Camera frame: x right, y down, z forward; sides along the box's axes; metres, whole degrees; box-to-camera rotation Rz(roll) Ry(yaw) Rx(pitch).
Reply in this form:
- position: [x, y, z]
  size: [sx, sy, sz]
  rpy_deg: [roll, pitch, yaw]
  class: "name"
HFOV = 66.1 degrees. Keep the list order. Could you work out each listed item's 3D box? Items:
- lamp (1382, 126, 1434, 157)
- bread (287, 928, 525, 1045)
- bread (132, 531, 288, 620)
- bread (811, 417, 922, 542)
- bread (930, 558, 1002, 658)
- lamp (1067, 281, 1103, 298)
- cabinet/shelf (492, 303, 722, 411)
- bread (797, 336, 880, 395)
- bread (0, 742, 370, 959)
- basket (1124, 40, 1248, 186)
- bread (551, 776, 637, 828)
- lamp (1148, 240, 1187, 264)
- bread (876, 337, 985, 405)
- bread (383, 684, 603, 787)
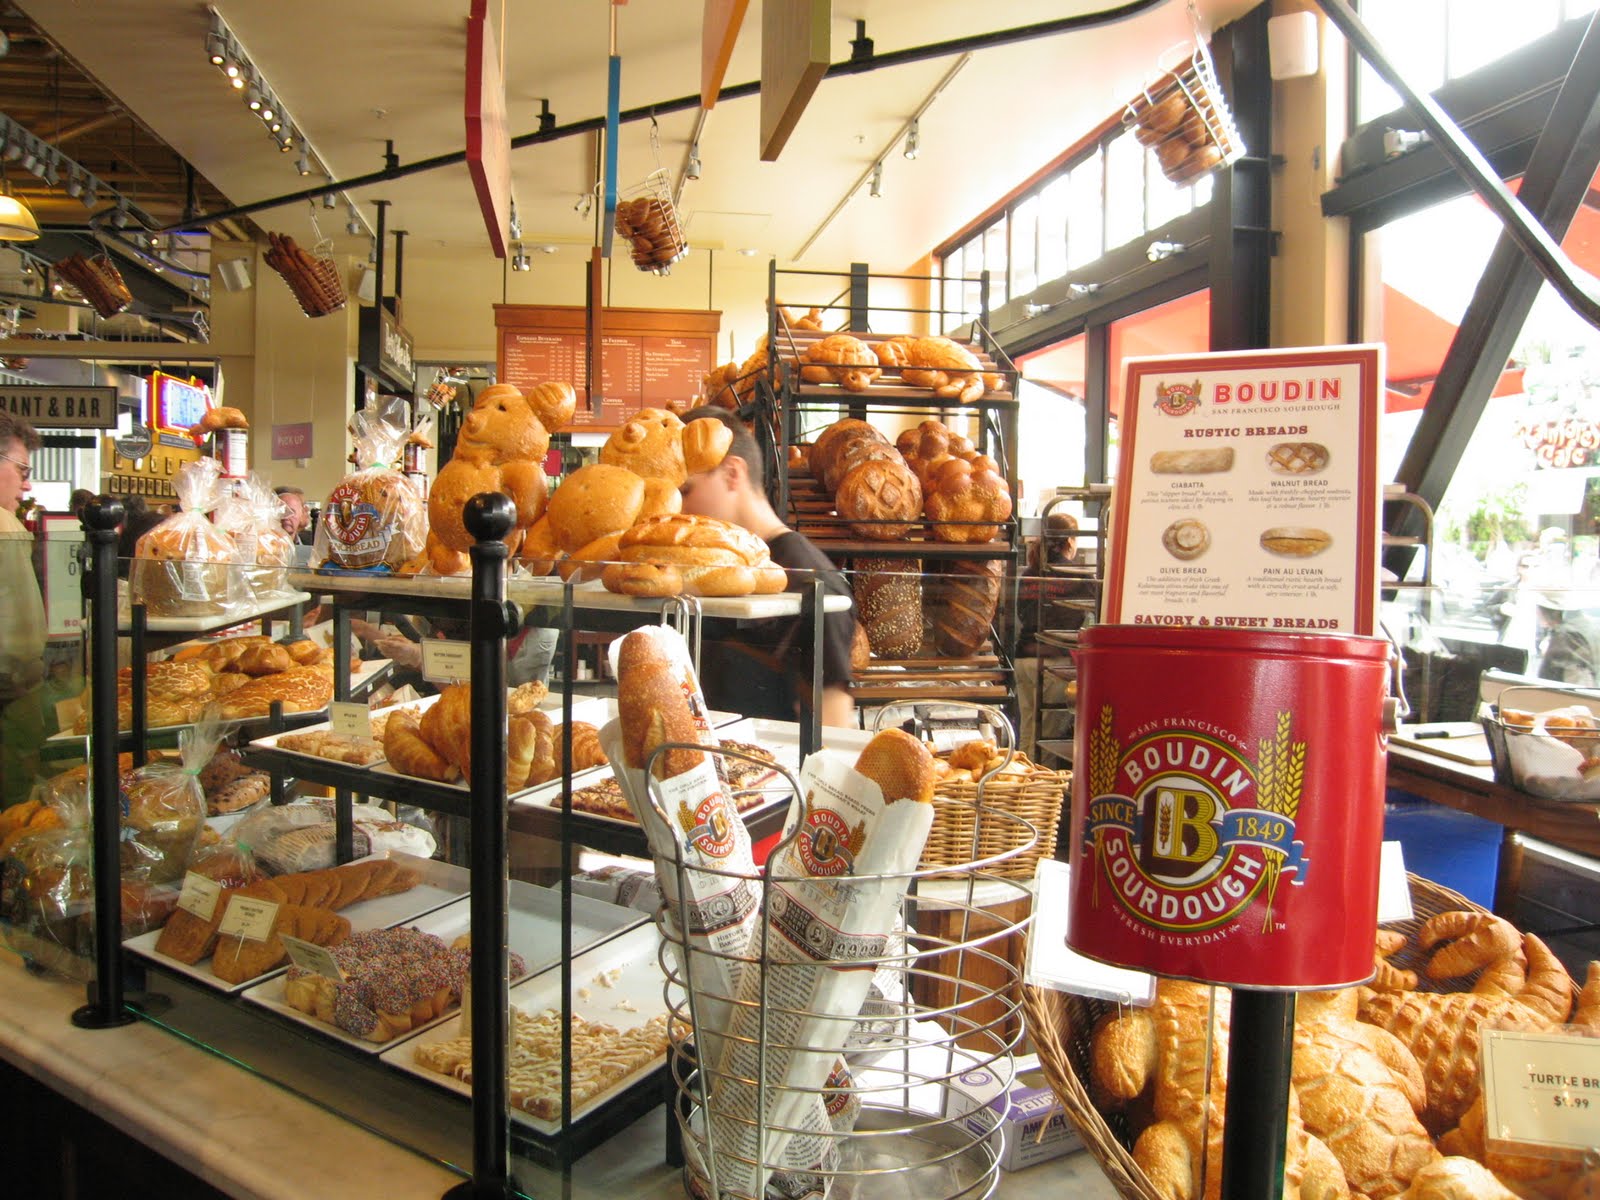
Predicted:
- position: [2.015, -1.518, 4.040]
  size: [0.068, 0.090, 0.201]
  rpy_deg: [0, 7, -8]
  class: "lamp"
- position: [-0.501, 0.494, 1.564]
  size: [0.198, 0.066, 0.228]
  rpy_deg: [-3, 13, -43]
  class: "bread"
- position: [-0.938, -0.034, 2.019]
  size: [0.202, 0.103, 0.299]
  rpy_deg: [2, 3, 23]
  class: "bread"
- position: [0.205, -0.384, 3.804]
  size: [0.176, 0.210, 0.440]
  rpy_deg: [-28, 27, 6]
  class: "bread"
- position: [0.459, 0.017, 3.386]
  size: [0.171, 0.299, 0.110]
  rpy_deg: [11, -8, -9]
  class: "bread"
- position: [1.411, -1.541, 6.070]
  size: [0.126, 0.079, 0.280]
  rpy_deg: [1, 7, 1]
  class: "lamp"
- position: [-1.178, -1.505, 7.618]
  size: [1.372, 0.683, 0.608]
  rpy_deg: [-1, 7, -11]
  class: "cabinet/shelf"
- position: [0.129, -0.756, 3.847]
  size: [0.211, 0.109, 0.200]
  rpy_deg: [10, 33, 0]
  class: "bread"
- position: [-1.072, 0.402, 1.933]
  size: [0.426, 0.114, 0.462]
  rpy_deg: [13, 15, 35]
  class: "bread"
- position: [1.146, -1.390, 3.496]
  size: [0.113, 0.362, 0.323]
  rpy_deg: [-38, 0, -39]
  class: "basket"
- position: [-0.241, 0.225, 1.439]
  size: [0.082, 0.018, 0.079]
  rpy_deg: [1, 9, -1]
  class: "bread"
- position: [1.513, -1.406, 5.002]
  size: [0.193, 0.041, 0.129]
  rpy_deg: [-5, 33, 4]
  class: "lamp"
- position: [0.429, -0.727, 3.828]
  size: [0.270, 0.081, 0.230]
  rpy_deg: [-3, 29, -46]
  class: "bread"
- position: [-0.408, 0.142, 1.545]
  size: [0.215, 0.066, 0.168]
  rpy_deg: [1, 1, 26]
  class: "bread"
